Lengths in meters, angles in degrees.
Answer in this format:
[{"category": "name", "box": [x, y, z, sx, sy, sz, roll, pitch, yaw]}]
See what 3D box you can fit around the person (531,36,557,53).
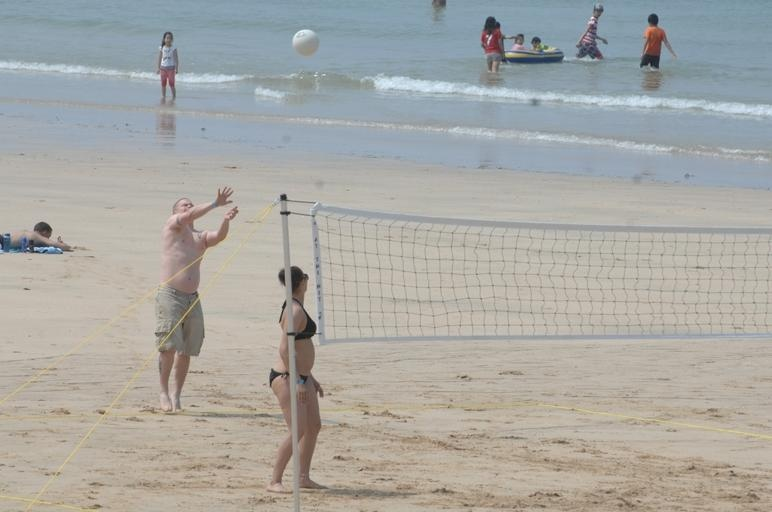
[{"category": "person", "box": [4.764, -6.559, 50.654, 1.182, 0.354, 0.719, 4, 7, -1]}]
